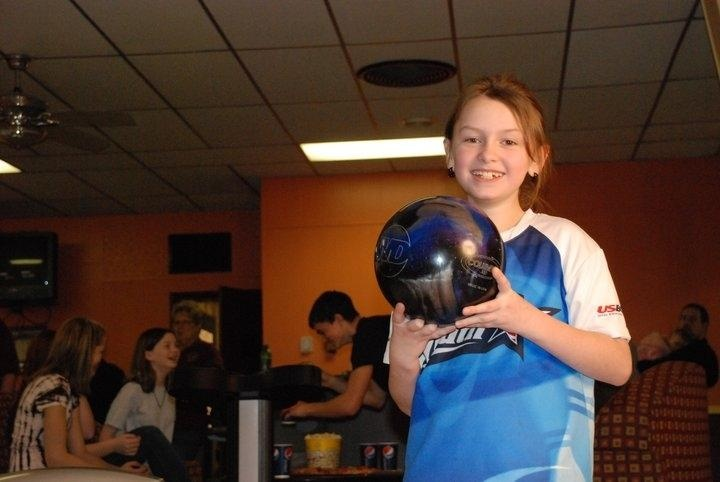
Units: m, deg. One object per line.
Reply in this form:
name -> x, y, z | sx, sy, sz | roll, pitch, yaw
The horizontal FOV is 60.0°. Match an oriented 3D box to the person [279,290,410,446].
person -> -0.024, 1.021, 4.903 | 1.093, 1.258, 0.877 | 1, -11, -4

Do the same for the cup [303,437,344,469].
cup -> -0.224, 1.271, 3.765 | 0.206, 0.196, 0.180 | 0, -15, -5

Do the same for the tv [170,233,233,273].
tv -> -2.248, 0.187, 8.995 | 0.814, 0.593, 0.187 | -4, 1, -3

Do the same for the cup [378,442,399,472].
cup -> 0.210, 1.357, 3.879 | 0.149, 0.150, 0.147 | 0, -16, 0

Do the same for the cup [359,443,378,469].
cup -> 0.053, 1.359, 3.928 | 0.115, 0.147, 0.114 | -1, -15, 0
